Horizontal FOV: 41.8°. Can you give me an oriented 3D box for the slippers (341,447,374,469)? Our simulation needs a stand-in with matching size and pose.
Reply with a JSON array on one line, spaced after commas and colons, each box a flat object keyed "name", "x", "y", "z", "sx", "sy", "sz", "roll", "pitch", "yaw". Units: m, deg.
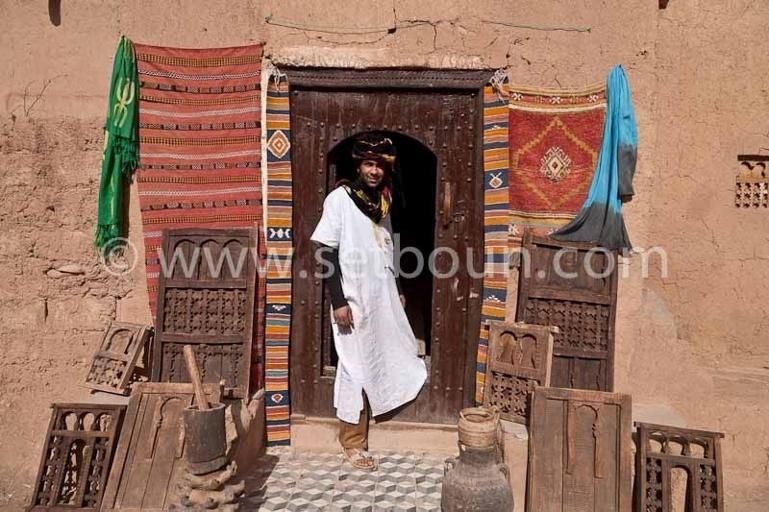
[{"name": "slippers", "x": -0.230, "y": 1.896, "z": 9.454, "sx": 0.145, "sy": 0.114, "sz": 0.284, "roll": 8, "pitch": -10, "yaw": -35}]

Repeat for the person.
[{"name": "person", "x": -0.199, "y": 0.583, "z": 9.578, "sx": 1.088, "sy": 2.791, "sz": 0.300, "roll": 3, "pitch": -4, "yaw": -34}]
